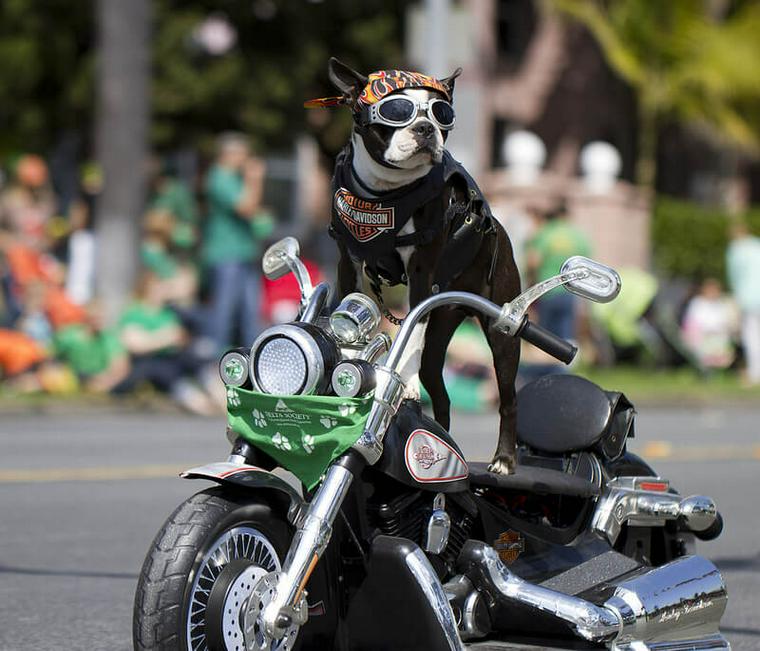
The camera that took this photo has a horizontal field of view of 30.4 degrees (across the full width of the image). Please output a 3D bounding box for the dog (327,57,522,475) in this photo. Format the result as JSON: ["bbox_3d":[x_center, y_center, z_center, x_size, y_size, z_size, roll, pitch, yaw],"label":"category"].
[{"bbox_3d":[0.185,-0.282,7.145,0.776,1.637,1.935,8,-6,25],"label":"dog"}]
